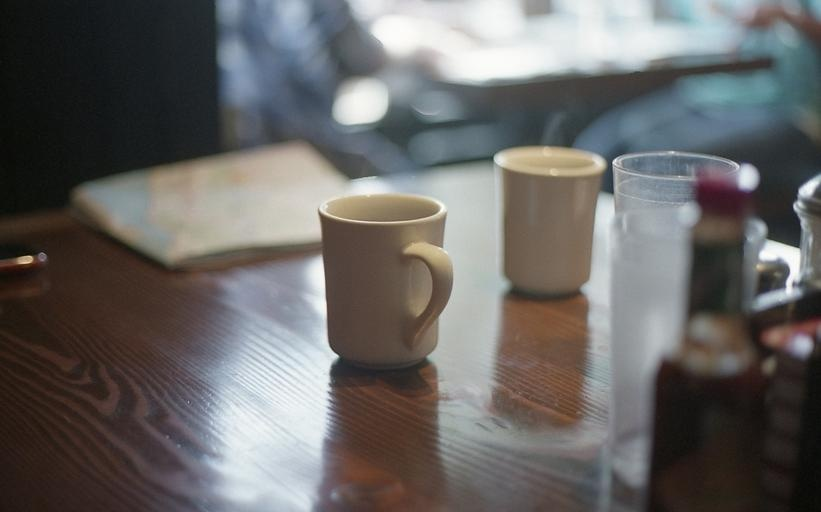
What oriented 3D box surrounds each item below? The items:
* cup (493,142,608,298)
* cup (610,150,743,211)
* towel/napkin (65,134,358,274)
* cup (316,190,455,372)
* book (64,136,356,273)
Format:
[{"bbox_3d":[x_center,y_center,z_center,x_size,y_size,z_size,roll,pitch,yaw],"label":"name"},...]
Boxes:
[{"bbox_3d":[0.132,-0.043,0.705,0.121,0.141,0.140,4,19,12],"label":"cup"},{"bbox_3d":[0.232,-0.069,0.579,0.070,0.063,0.085,-8,16,-29],"label":"cup"},{"bbox_3d":[-0.222,-0.056,0.768,0.192,0.030,0.198,-11,26,-31],"label":"towel/napkin"},{"bbox_3d":[-0.009,0.028,0.556,0.100,0.129,0.150,-10,20,-31],"label":"cup"},{"bbox_3d":[-0.227,-0.057,0.769,0.192,0.030,0.198,-11,26,-31],"label":"book"}]
